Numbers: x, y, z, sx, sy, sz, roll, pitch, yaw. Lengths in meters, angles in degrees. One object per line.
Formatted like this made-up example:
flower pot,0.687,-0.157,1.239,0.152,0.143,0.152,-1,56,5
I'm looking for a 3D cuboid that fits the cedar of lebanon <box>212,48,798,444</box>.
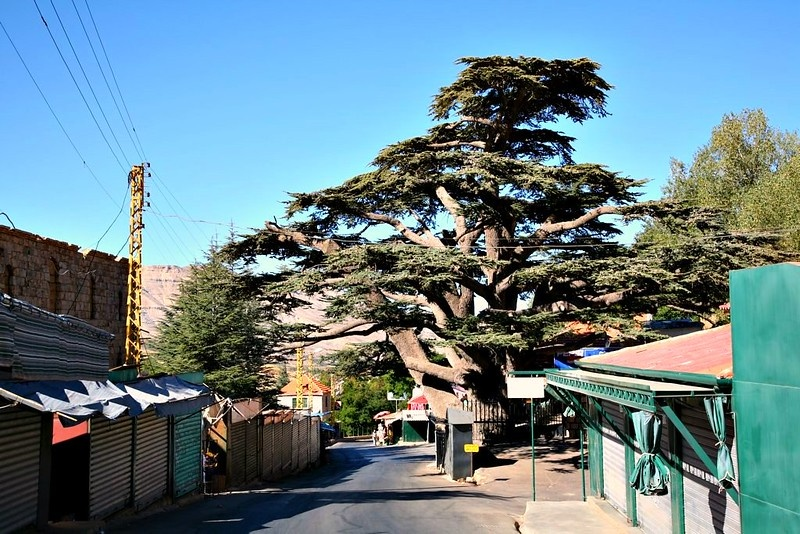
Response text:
cedar of lebanon,3.271,-0.557,34.316,21.020,11.721,16.652,1,-8,-7
